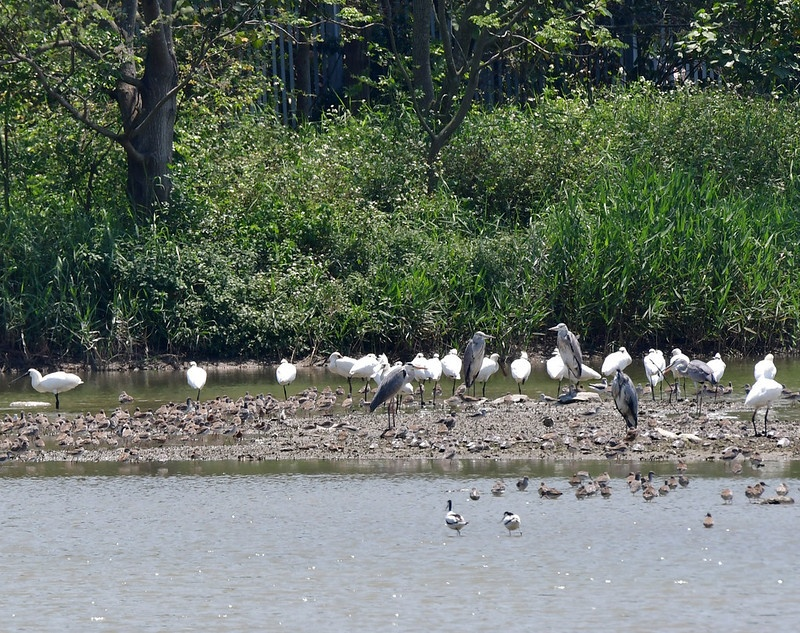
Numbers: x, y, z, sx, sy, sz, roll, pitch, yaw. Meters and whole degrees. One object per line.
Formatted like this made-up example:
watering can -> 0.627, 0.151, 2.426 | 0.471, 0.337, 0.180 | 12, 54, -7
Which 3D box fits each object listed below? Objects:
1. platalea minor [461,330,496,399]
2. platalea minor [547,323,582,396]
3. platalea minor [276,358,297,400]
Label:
platalea minor -> 1.446, 0.838, 35.839 | 0.424, 1.158, 1.003 | -2, 4, 2
platalea minor -> 3.200, 0.715, 35.194 | 0.533, 1.216, 0.528 | -1, 5, -7
platalea minor -> -2.214, 0.945, 36.459 | 0.254, 0.341, 1.002 | 2, 41, 2
